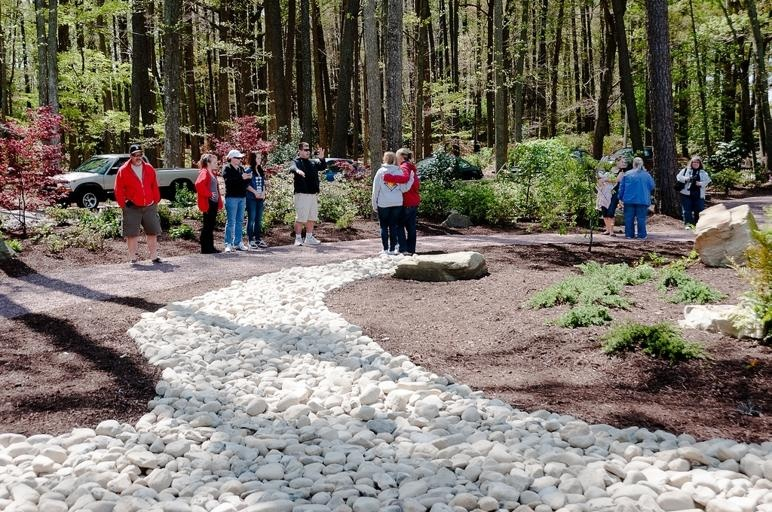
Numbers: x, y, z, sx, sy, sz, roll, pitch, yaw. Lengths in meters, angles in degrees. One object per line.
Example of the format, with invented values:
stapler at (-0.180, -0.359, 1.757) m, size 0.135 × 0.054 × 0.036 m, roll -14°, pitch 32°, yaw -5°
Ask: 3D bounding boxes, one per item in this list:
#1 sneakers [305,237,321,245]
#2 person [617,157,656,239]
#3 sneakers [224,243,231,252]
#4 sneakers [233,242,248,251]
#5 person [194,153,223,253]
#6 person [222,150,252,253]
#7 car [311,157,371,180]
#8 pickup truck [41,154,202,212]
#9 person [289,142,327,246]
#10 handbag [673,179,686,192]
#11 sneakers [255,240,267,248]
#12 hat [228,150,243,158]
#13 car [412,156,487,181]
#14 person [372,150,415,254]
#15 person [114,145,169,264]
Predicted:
sneakers at (-1.748, -0.334, 16.396) m, size 0.289 × 0.127 × 0.173 m, roll -2°, pitch 8°, yaw 9°
person at (6.104, -1.426, 17.052) m, size 0.800 × 1.949 × 1.418 m, roll 3°, pitch 12°, yaw 18°
sneakers at (-3.516, -0.175, 15.350) m, size 0.162 × 0.107 × 0.184 m, roll -5°, pitch 47°, yaw -9°
sneakers at (-3.271, -0.199, 15.635) m, size 0.380 × 0.181 × 0.132 m, roll 2°, pitch 25°, yaw 0°
person at (-3.818, -1.085, 14.906) m, size 0.475 × 2.166 × 0.870 m, roll -4°, pitch 11°, yaw -14°
person at (-3.310, -1.206, 15.316) m, size 0.610 × 2.225 × 0.640 m, roll -3°, pitch 11°, yaw -13°
car at (-1.516, -2.992, 23.314) m, size 1.792 × 0.812 × 1.076 m, roll -6°, pitch 19°, yaw 2°
pickup truck at (-8.489, -2.368, 22.777) m, size 4.228 × 1.465 × 2.288 m, roll -4°, pitch 7°, yaw -39°
person at (-1.804, -1.364, 15.780) m, size 0.697 × 2.374 × 1.186 m, roll 0°, pitch 11°, yaw 5°
handbag at (7.798, -1.874, 18.450) m, size 0.298 × 0.226 × 0.416 m, roll 7°, pitch 28°, yaw 26°
sneakers at (-2.862, -0.256, 15.997) m, size 0.296 × 0.129 × 0.098 m, roll 4°, pitch 26°, yaw -25°
hat at (-3.307, -2.147, 14.970) m, size 0.336 × 0.171 × 0.249 m, roll 2°, pitch 14°, yaw 17°
car at (2.596, -3.358, 28.815) m, size 3.143 × 1.033 × 1.417 m, roll -2°, pitch 10°, yaw -22°
person at (0.122, -1.071, 14.499) m, size 0.802 × 2.127 × 0.392 m, roll 0°, pitch 11°, yaw 1°
person at (-4.894, -0.985, 13.657) m, size 0.709 × 2.354 × 0.930 m, roll 0°, pitch 11°, yaw 6°
